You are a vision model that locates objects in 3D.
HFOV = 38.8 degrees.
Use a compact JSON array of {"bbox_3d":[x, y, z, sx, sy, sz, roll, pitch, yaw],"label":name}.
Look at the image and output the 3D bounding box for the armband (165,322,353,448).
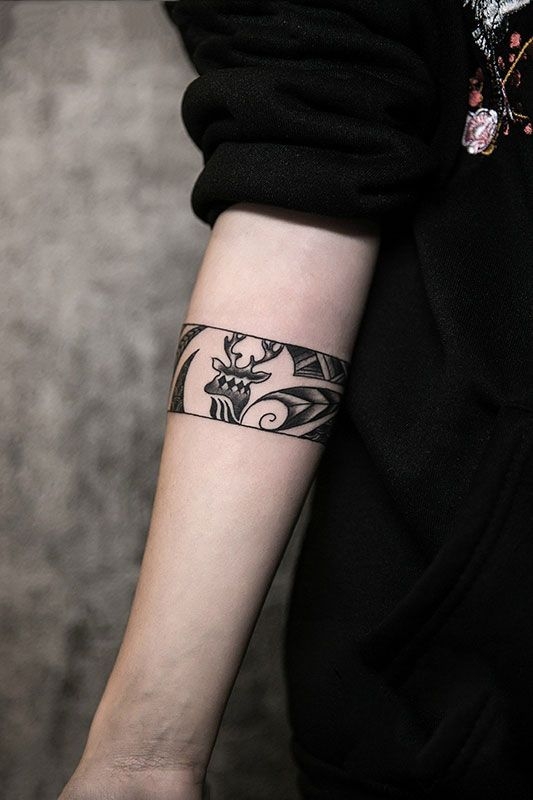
[{"bbox_3d":[-0.012,-0.012,0.682,0.156,0.088,0.092,9,50,5],"label":"armband"}]
